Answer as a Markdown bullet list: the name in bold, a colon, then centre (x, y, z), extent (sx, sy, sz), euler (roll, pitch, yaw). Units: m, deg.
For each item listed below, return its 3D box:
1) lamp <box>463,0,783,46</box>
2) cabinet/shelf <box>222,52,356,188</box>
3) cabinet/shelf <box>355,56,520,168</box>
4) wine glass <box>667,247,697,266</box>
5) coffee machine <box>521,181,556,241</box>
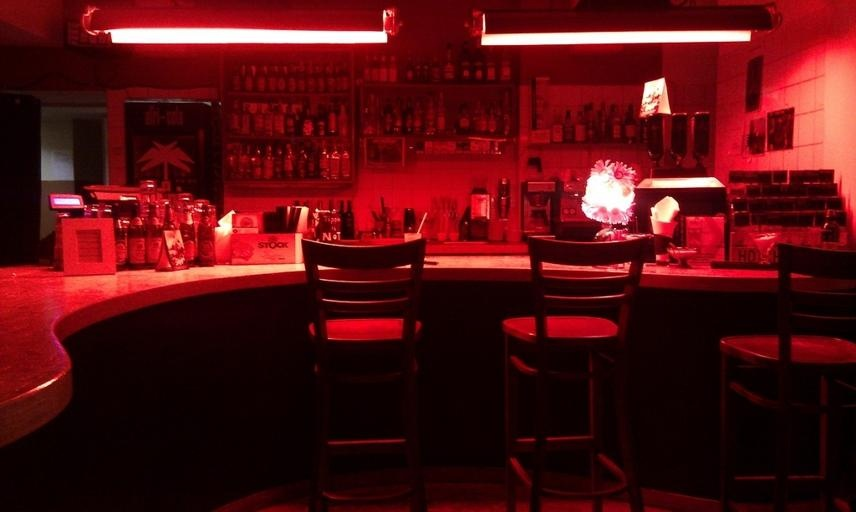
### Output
- **lamp**: centre (1.464, -1.761, 5.143), extent (2.243, 0.268, 0.298), euler (-1, 9, 2)
- **cabinet/shelf**: centre (-1.457, -1.460, 7.115), extent (1.457, 1.291, 0.495), euler (0, 4, 0)
- **cabinet/shelf**: centre (0.081, -1.576, 7.192), extent (1.286, 0.704, 0.364), euler (0, 1, -2)
- **wine glass**: centre (1.724, -0.004, 4.671), extent (0.157, 0.102, 0.146), euler (0, 0, -11)
- **coffee machine**: centre (1.159, -0.497, 7.125), extent (0.380, 0.570, 0.404), euler (1, 9, 17)
